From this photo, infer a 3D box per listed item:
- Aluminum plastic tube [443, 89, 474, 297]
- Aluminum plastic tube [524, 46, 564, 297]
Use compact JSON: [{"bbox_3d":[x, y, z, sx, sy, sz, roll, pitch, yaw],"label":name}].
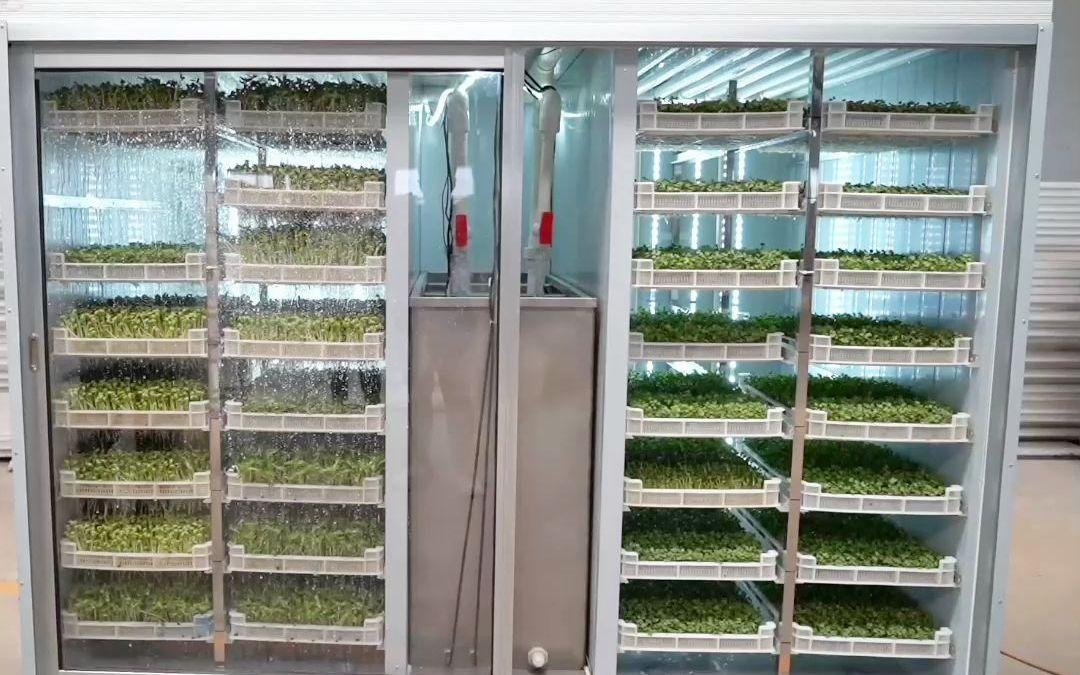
[{"bbox_3d":[-0.478,-0.769,8.800,0.138,1.009,0.218,0,7,-7],"label":"Aluminum plastic tube"},{"bbox_3d":[0.027,-0.974,9.180,0.184,1.378,0.217,0,8,-2],"label":"Aluminum plastic tube"}]
